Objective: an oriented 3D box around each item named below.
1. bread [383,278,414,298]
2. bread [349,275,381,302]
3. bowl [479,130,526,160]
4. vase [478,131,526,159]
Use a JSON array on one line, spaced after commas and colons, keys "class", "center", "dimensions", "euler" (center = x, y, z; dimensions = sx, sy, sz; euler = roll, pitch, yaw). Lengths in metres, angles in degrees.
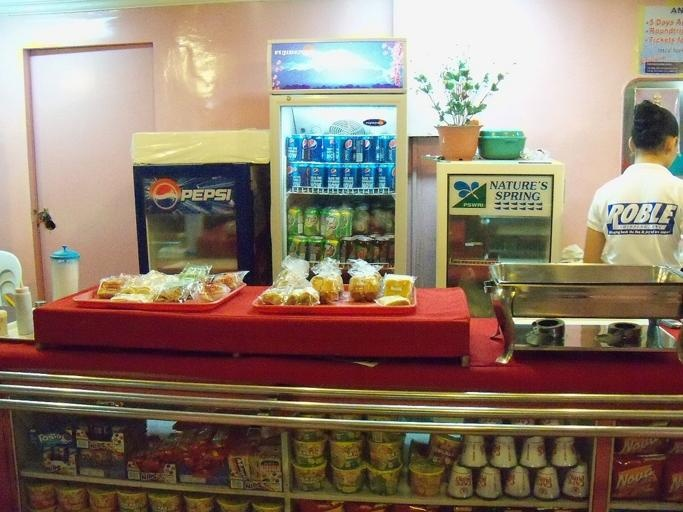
[{"class": "bread", "center": [0.236, 0.126, 2.368], "dimensions": [0.100, 0.066, 0.094], "euler": [3, 11, 10]}, {"class": "bread", "center": [0.093, 0.133, 2.372], "dimensions": [0.117, 0.095, 0.109], "euler": [0, 2, -2]}, {"class": "bowl", "center": [1.115, -0.757, 3.920], "dimensions": [0.267, 0.130, 0.230], "euler": [1, 9, 2]}, {"class": "vase", "center": [1.116, -0.770, 3.960], "dimensions": [0.312, 0.206, 0.119], "euler": [-1, 9, 11]}]
